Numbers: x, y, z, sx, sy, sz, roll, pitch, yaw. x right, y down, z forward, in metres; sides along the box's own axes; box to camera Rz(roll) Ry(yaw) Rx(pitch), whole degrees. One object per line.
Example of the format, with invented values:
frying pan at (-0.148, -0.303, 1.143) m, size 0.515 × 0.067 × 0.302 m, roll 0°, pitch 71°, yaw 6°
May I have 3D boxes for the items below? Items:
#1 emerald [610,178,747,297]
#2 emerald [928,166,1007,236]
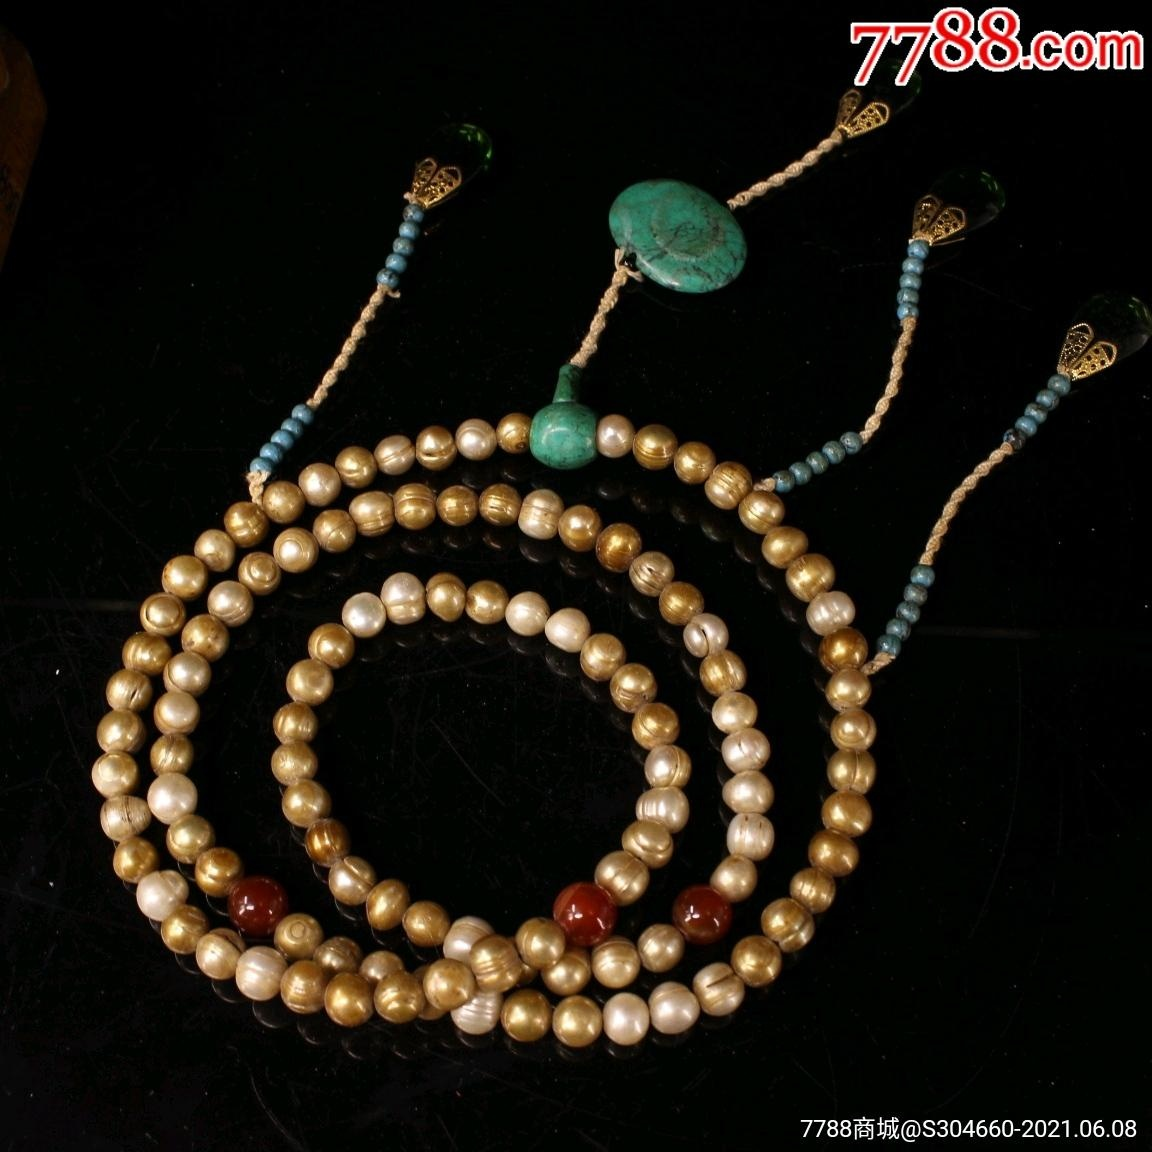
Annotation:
emerald at (0.156, -0.439, 2.038) m, size 0.203 × 0.043 × 0.152 m, roll -17°, pitch 81°, yaw -33°
emerald at (0.559, -0.529, 2.176) m, size 0.093 × 0.091 × 0.059 m, roll 28°, pitch 59°, yaw 1°
